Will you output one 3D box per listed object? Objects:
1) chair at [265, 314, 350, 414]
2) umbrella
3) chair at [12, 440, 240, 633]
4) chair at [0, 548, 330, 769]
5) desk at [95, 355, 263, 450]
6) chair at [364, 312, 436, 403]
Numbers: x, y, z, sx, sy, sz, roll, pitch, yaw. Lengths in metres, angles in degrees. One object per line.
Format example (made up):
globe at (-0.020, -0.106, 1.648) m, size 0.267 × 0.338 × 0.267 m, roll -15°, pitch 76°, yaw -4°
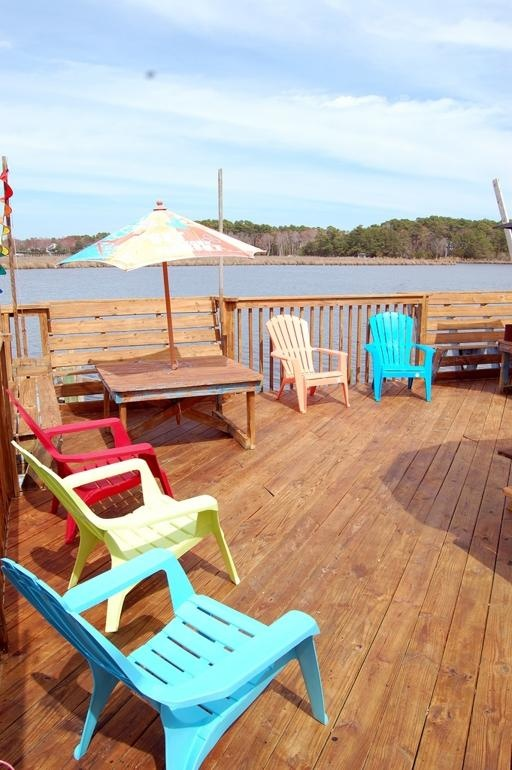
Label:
chair at (0.517, -0.252, 5.465) m, size 0.803 × 0.933 × 0.811 m, roll -4°, pitch 12°, yaw -16°
umbrella at (-0.590, -0.793, 3.926) m, size 0.955 × 0.791 × 0.955 m, roll -6°, pitch 25°, yaw -4°
chair at (-0.515, 0.534, 2.288) m, size 0.855 × 0.807 × 0.729 m, roll -11°, pitch 23°, yaw -30°
chair at (-0.287, 0.844, 1.568) m, size 0.409 × 0.440 × 0.474 m, roll 20°, pitch 31°, yaw 38°
desk at (-0.664, -0.013, 4.205) m, size 0.926 × 0.489 × 0.956 m, roll -5°, pitch 15°, yaw -19°
chair at (1.587, -0.356, 5.890) m, size 0.808 × 0.976 × 1.062 m, roll -1°, pitch 19°, yaw 1°
